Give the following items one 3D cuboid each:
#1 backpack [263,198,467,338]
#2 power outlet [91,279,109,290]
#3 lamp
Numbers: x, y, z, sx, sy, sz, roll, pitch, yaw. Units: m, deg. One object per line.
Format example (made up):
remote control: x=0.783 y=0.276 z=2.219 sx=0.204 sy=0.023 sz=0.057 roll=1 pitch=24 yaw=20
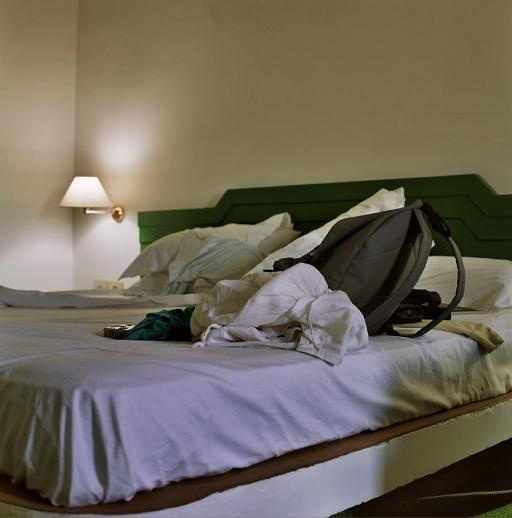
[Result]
backpack: x=0.398 y=0.024 z=1.435 sx=0.438 sy=0.410 sz=0.295 roll=-1 pitch=-1 yaw=-19
power outlet: x=-1.284 y=0.206 z=3.891 sx=0.114 sy=0.095 sz=0.028 roll=2 pitch=-7 yaw=38
lamp: x=-1.405 y=-0.497 z=3.991 sx=0.530 sy=0.329 sz=0.455 roll=2 pitch=3 yaw=-25
